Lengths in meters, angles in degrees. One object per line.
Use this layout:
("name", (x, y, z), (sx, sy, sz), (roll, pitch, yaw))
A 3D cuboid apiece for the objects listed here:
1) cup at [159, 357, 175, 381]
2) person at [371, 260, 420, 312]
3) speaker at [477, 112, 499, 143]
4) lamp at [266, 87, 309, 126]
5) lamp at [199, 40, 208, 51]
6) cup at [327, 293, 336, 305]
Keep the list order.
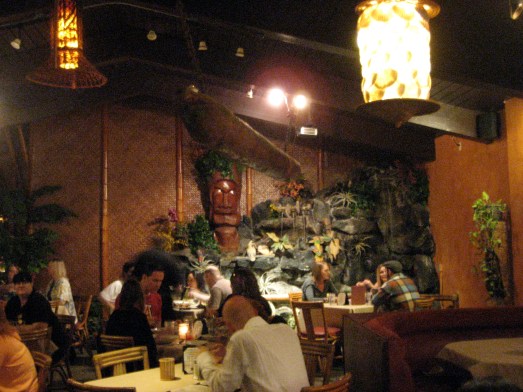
("cup", (-0.917, 1.644, 5.838), (0.180, 0.203, 0.183), (0, -4, 0))
("person", (1.871, 1.469, 8.663), (0.582, 1.082, 0.601), (-1, -2, 39))
("speaker", (3.984, -1.227, 10.748), (0.420, 0.422, 0.266), (-9, -13, 22))
("lamp", (0.572, -1.777, 12.571), (0.534, 0.371, 1.030), (25, 3, -14))
("lamp", (-0.905, -2.320, 9.439), (0.118, 0.116, 0.173), (0, -5, -3))
("cup", (1.072, 1.599, 9.453), (0.127, 0.152, 0.139), (3, -16, 1))
